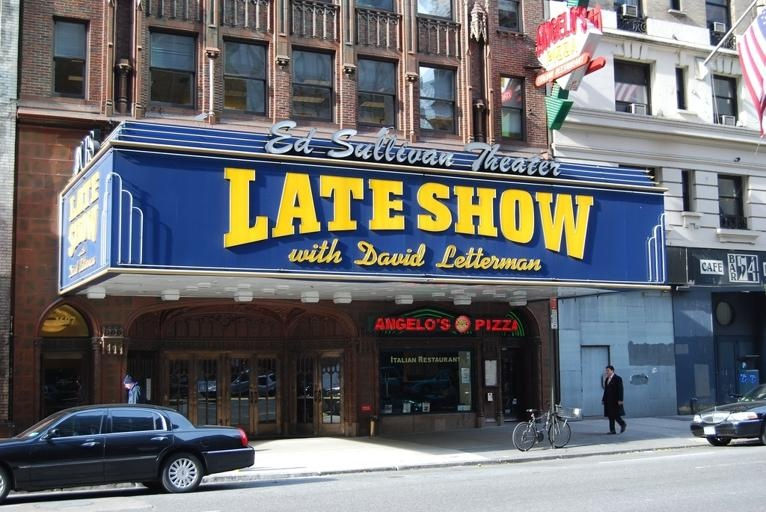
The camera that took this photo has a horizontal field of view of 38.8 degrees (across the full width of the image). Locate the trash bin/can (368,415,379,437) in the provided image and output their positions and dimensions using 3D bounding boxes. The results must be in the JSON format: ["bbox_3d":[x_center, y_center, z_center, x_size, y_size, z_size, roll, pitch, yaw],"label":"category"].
[{"bbox_3d":[-0.397,6.182,40.053,0.331,0.733,0.156,1,-11,-17],"label":"trash bin/can"}]

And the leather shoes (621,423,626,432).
[{"bbox_3d":[8.711,6.224,39.729,0.221,0.418,0.144,-1,22,1],"label":"leather shoes"}]

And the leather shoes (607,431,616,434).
[{"bbox_3d":[8.214,6.355,39.406,0.267,0.140,0.388,-4,-10,10],"label":"leather shoes"}]

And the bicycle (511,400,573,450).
[{"bbox_3d":[5.213,5.775,36.725,2.383,1.462,1.252,6,-13,-39],"label":"bicycle"}]
